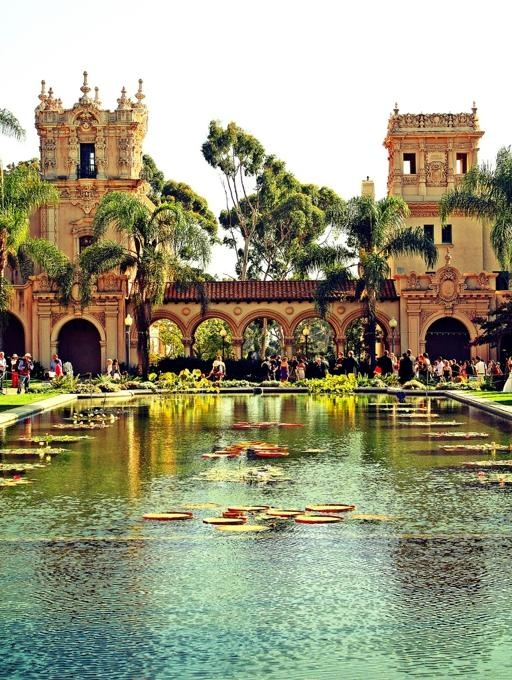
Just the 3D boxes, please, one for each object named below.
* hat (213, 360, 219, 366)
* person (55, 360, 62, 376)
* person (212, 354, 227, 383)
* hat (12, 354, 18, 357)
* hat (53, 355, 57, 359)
[{"bbox_3d":[-1.786,1.030,42.797,0.286,0.151,0.418,0,-3,-2],"label":"hat"},{"bbox_3d":[-8.205,1.187,40.315,0.207,0.704,1.352,1,-4,-14],"label":"person"},{"bbox_3d":[-1.672,1.321,43.795,0.750,2.062,0.535,3,-44,-4],"label":"person"},{"bbox_3d":[-10.810,0.693,43.453,0.240,0.100,0.288,1,3,-1],"label":"hat"},{"bbox_3d":[-9.639,0.792,46.379,0.175,0.254,0.226,-3,10,-17],"label":"hat"}]
